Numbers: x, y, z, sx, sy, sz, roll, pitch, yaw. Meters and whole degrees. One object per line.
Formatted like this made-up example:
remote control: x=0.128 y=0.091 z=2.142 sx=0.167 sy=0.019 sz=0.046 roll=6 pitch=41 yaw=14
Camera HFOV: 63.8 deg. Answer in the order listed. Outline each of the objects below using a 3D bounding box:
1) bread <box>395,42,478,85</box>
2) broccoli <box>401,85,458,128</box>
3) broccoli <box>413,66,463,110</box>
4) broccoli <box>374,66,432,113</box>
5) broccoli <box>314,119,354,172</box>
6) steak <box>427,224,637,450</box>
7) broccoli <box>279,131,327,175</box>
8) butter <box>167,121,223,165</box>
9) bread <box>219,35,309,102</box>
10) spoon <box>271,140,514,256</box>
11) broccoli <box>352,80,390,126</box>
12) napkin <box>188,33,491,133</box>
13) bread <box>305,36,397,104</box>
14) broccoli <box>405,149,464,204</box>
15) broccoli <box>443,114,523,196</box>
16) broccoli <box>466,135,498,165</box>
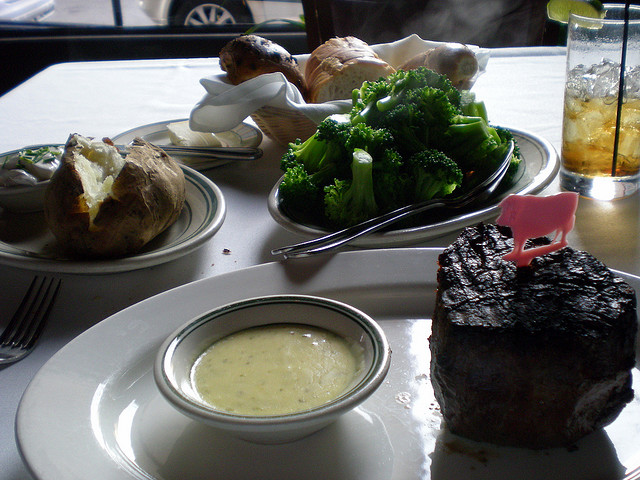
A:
bread: x=0.430 y=-0.633 z=1.946 sx=0.288 sy=0.181 sz=0.128 roll=4 pitch=67 yaw=34
broccoli: x=0.321 y=-0.423 z=1.568 sx=0.131 sy=0.120 sz=0.153 roll=6 pitch=24 yaw=29
broccoli: x=0.389 y=-0.493 z=1.687 sx=0.113 sy=0.148 sz=0.270 roll=23 pitch=18 yaw=31
broccoli: x=0.258 y=-0.453 z=1.608 sx=0.172 sy=0.093 sz=0.132 roll=-34 pitch=57 yaw=-13
broccoli: x=0.031 y=-0.282 z=1.531 sx=0.098 sy=0.132 sz=0.113 roll=22 pitch=0 yaw=17
steak: x=0.359 y=0.181 z=0.956 sx=0.367 sy=0.287 sz=0.387 roll=5 pitch=21 yaw=30
broccoli: x=-0.038 y=-0.263 z=1.605 sx=0.145 sy=0.132 sz=0.118 roll=1 pitch=14 yaw=33
butter: x=-0.475 y=-0.410 z=2.001 sx=0.221 sy=0.184 sz=0.176 roll=16 pitch=24 yaw=38
bread: x=-0.239 y=-0.699 z=2.002 sx=0.343 sy=0.334 sz=0.280 roll=16 pitch=31 yaw=40
spoon: x=0.229 y=-0.088 z=1.323 sx=0.714 sy=0.136 sz=0.139 roll=-17 pitch=2 yaw=-12
broccoli: x=0.155 y=-0.423 z=1.579 sx=0.105 sy=0.164 sz=0.074 roll=-7 pitch=16 yaw=-19
napkin: x=-0.121 y=-0.620 z=2.100 sx=0.875 sy=0.245 sz=1.202 roll=27 pitch=25 yaw=12
bread: x=0.101 y=-0.728 z=2.173 sx=0.336 sy=0.251 sz=0.405 roll=2 pitch=27 yaw=-6
broccoli: x=0.321 y=-0.180 z=1.393 sx=0.144 sy=0.133 sz=0.109 roll=0 pitch=18 yaw=5
broccoli: x=0.549 y=-0.263 z=1.574 sx=0.168 sy=0.129 sz=0.211 roll=30 pitch=8 yaw=-19
broccoli: x=0.479 y=-0.264 z=1.509 sx=0.103 sy=0.027 sz=0.052 roll=-44 pitch=39 yaw=10
